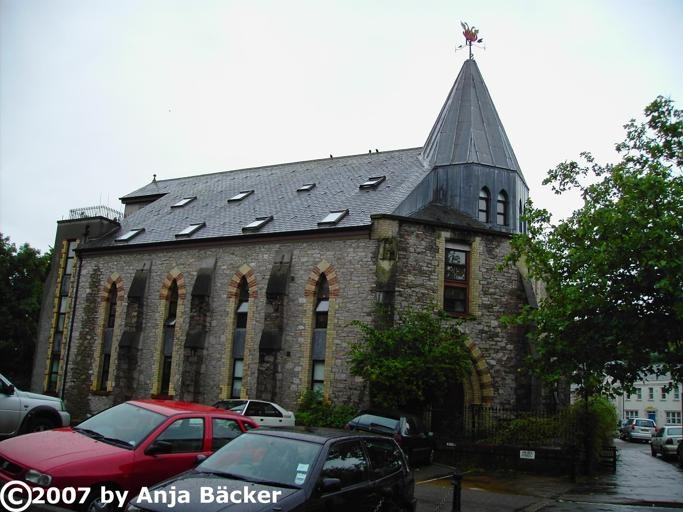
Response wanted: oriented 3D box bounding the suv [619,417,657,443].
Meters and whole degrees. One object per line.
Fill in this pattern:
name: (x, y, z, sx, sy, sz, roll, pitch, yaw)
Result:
suv: (21.443, 12.473, 47.955, 1.652, 1.754, 4.065, -2, -17, 13)
